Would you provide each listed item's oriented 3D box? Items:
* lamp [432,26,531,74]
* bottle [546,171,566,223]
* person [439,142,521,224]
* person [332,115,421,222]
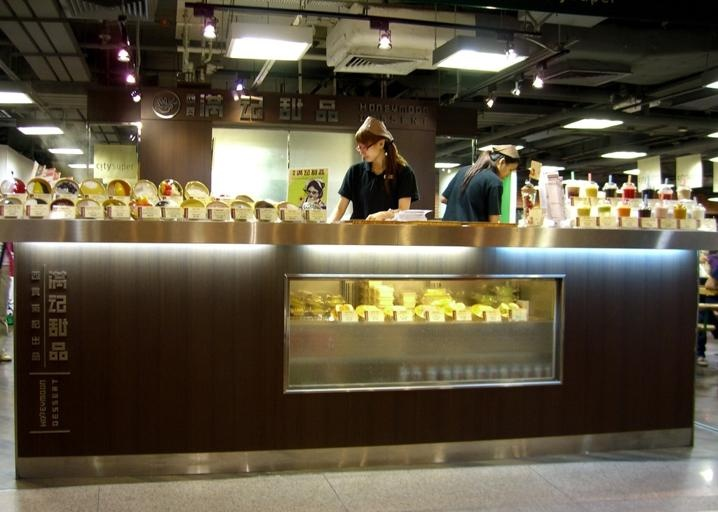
[{"bbox_3d":[1.308,-2.154,6.734,0.666,0.160,0.589,2,-2,-37],"label":"lamp"},{"bbox_3d":[1.606,-0.458,5.128,0.184,0.416,0.082,4,14,12],"label":"bottle"},{"bbox_3d":[1.064,-0.603,5.551,0.644,0.665,0.720,4,14,12],"label":"person"},{"bbox_3d":[0.147,-0.756,5.592,0.741,0.887,0.420,2,14,3],"label":"person"}]
